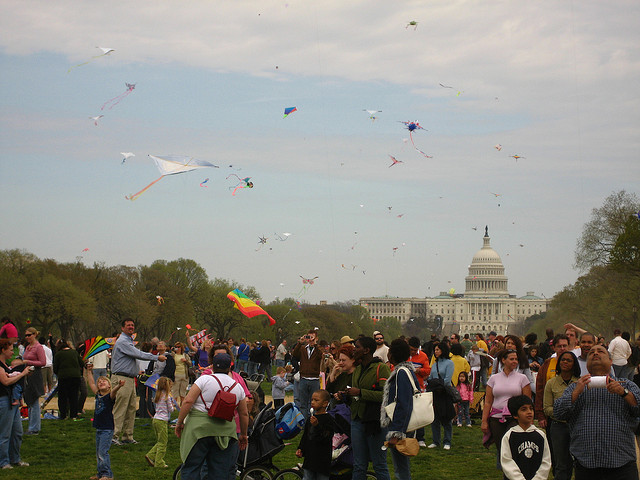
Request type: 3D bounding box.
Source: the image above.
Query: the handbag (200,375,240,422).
[{"bbox_3d":[-1.721,2.798,16.260,0.661,0.732,0.445,22,-16,-38],"label":"handbag"}]

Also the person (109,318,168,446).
[{"bbox_3d":[-4.117,3.233,21.243,1.516,2.809,0.845,-1,-2,1],"label":"person"}]

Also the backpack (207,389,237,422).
[{"bbox_3d":[-1.758,2.896,16.074,0.435,0.482,0.264,27,-22,-23],"label":"backpack"}]

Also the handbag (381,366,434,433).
[{"bbox_3d":[1.626,2.873,16.524,0.857,1.163,0.346,6,-10,-1],"label":"handbag"}]

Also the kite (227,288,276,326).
[{"bbox_3d":[-3.064,2.989,39.329,2.136,0.756,1.544,32,2,-12],"label":"kite"}]

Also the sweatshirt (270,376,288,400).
[{"bbox_3d":[-1.214,4.285,26.593,0.372,0.669,0.598,6,-10,-2],"label":"sweatshirt"}]

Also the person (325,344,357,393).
[{"bbox_3d":[0.437,2.448,17.443,0.471,0.914,0.974,7,-10,-6],"label":"person"}]

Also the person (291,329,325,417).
[{"bbox_3d":[-0.344,3.529,23.456,0.967,2.384,0.815,2,-12,4],"label":"person"}]

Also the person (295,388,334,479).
[{"bbox_3d":[-0.075,3.531,16.740,0.628,1.593,0.466,6,-10,1],"label":"person"}]

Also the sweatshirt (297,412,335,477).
[{"bbox_3d":[-0.078,3.709,16.722,0.610,1.126,0.451,6,-10,-1],"label":"sweatshirt"}]

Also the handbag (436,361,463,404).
[{"bbox_3d":[2.993,3.440,21.873,0.379,0.999,0.621,-14,-4,36],"label":"handbag"}]

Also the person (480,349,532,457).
[{"bbox_3d":[3.643,3.171,18.120,0.901,2.083,0.872,2,-11,21],"label":"person"}]
